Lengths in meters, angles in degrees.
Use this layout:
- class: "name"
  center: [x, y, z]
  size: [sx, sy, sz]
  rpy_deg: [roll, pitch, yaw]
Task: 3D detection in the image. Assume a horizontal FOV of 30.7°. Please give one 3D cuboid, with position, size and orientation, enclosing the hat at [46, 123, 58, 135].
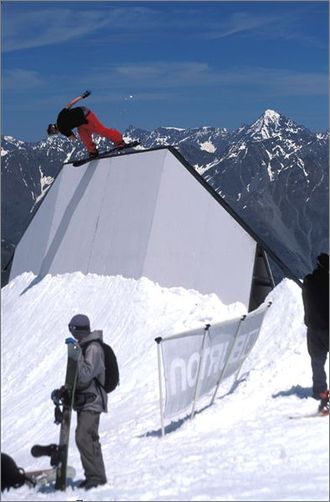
- class: "hat"
  center: [-3.010, -3.230, 15.868]
  size: [0.259, 0.256, 0.910]
  rpy_deg: [1, 6, -9]

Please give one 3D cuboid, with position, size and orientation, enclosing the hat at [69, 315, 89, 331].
- class: "hat"
  center: [-1.020, 0.857, 7.090]
  size: [0.193, 0.158, 0.214]
  rpy_deg: [6, 11, 6]

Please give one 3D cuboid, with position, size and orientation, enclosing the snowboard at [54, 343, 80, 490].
- class: "snowboard"
  center: [-1.168, 1.883, 6.995]
  size: [0.253, 1.836, 0.525]
  rpy_deg: [1, 6, -10]
